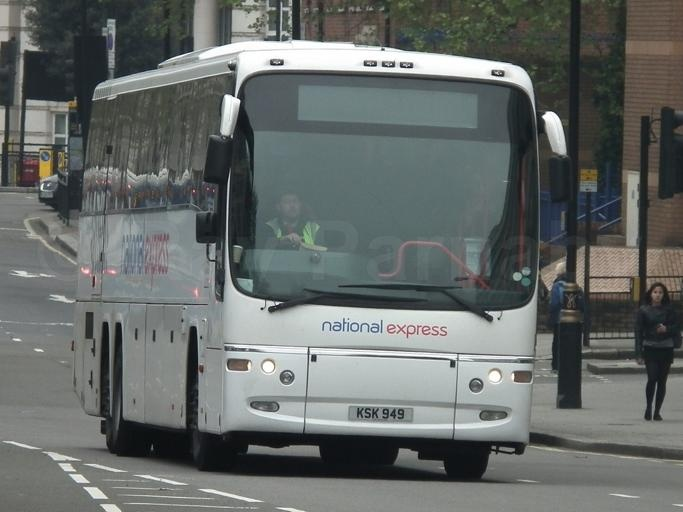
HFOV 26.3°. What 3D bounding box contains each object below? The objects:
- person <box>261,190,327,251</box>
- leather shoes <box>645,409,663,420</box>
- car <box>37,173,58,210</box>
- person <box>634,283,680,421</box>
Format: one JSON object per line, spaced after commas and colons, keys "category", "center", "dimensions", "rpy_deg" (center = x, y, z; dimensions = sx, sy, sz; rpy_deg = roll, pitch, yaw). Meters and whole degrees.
{"category": "person", "center": [-0.541, -0.282, 15.709], "dimensions": [0.619, 0.954, 0.478], "rpy_deg": [1, -13, -10]}
{"category": "leather shoes", "center": [4.774, 2.439, 22.455], "dimensions": [0.108, 0.155, 0.355], "rpy_deg": [2, -9, -8]}
{"category": "car", "center": [-11.998, -2.660, 60.082], "dimensions": [0.852, 0.840, 1.675], "rpy_deg": [-2, 5, -11]}
{"category": "person", "center": [4.904, 1.460, 22.606], "dimensions": [0.679, 2.124, 0.685], "rpy_deg": [1, 4, 15]}
